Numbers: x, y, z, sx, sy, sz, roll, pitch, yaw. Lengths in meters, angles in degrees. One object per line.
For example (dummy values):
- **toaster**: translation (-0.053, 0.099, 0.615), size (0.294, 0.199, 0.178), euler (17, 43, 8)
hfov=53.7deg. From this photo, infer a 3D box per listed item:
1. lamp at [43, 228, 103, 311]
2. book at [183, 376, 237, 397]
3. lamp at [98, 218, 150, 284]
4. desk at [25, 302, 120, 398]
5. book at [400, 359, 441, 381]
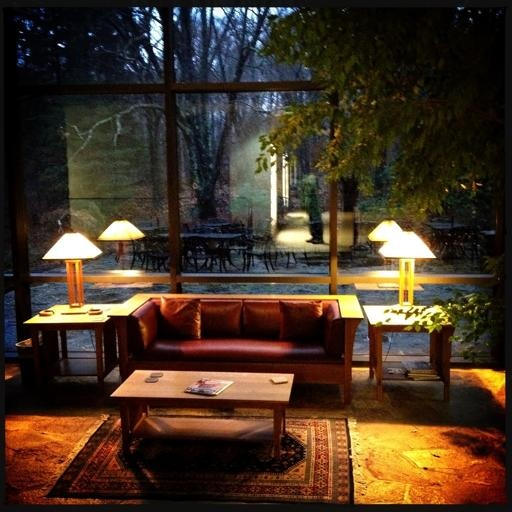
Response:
- **lamp**: translation (-1.839, 0.141, 5.220), size (0.515, 0.800, 0.639), euler (-3, 9, -8)
- **book**: translation (-0.342, 0.953, 3.715), size (0.401, 0.047, 0.481), euler (0, -2, 13)
- **lamp**: translation (-1.464, -0.016, 5.429), size (0.615, 0.766, 0.341), euler (-1, 9, -1)
- **desk**: translation (-1.821, 0.965, 5.015), size (0.638, 0.468, 0.484), euler (-2, 5, 19)
- **book**: translation (1.531, 1.053, 4.638), size (0.249, 0.066, 0.237), euler (0, 3, 1)
